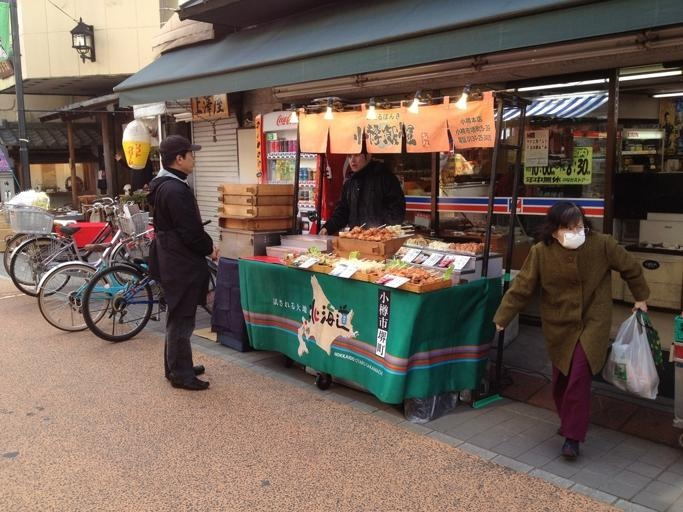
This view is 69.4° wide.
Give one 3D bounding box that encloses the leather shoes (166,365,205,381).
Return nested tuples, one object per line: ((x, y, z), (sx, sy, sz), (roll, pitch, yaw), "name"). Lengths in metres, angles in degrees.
((-1.832, 1.350, 5.849), (0.162, 0.192, 0.473), (-1, -2, 35), "leather shoes")

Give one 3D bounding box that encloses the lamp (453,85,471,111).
((1.224, -1.604, 5.007), (0.109, 0.225, 0.224), (-1, 12, 0), "lamp")

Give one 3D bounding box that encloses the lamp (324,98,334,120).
((-0.182, -1.837, 6.174), (0.113, 0.256, 0.279), (-1, 12, -2), "lamp")

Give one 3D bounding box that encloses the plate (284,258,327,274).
((-0.401, 0.089, 5.451), (0.513, 0.124, 0.300), (2, 12, 13), "plate")

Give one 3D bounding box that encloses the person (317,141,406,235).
((0.310, -0.865, 6.582), (1.173, 1.207, 0.467), (6, 14, 27), "person")

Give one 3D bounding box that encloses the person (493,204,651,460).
((2.016, 0.625, 4.246), (1.191, 2.125, 0.672), (-2, 13, -7), "person")

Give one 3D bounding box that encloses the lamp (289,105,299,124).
((-0.646, -1.897, 6.609), (0.093, 0.202, 0.344), (-2, 12, -7), "lamp")

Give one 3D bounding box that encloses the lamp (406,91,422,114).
((0.774, -1.658, 5.339), (0.125, 0.205, 0.300), (1, 12, 6), "lamp")

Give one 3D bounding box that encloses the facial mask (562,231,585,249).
((1.948, -0.135, 4.145), (0.188, 0.164, 0.098), (2, 13, 11), "facial mask")

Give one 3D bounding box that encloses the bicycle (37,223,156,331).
((-4.083, 0.416, 7.737), (2.318, 1.337, 1.109), (-11, 20, -26), "bicycle")

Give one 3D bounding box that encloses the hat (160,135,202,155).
((-1.789, -1.210, 5.474), (0.247, 0.145, 0.391), (19, 21, 42), "hat")

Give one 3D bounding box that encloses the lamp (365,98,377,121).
((0.336, -1.723, 5.772), (0.123, 0.247, 0.182), (-1, 12, 0), "lamp")

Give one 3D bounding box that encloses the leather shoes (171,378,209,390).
((-1.693, 1.405, 5.544), (0.433, 0.169, 0.153), (0, 4, 0), "leather shoes")

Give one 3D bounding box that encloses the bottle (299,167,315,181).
((-0.633, -1.458, 8.812), (0.085, 0.237, 0.394), (-12, 17, -42), "bottle")

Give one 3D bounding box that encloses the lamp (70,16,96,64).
((-8.402, -7.013, 15.903), (0.596, 1.344, 0.945), (-5, 13, -19), "lamp")

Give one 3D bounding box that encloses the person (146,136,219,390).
((-1.770, 0.088, 5.446), (0.639, 2.766, 0.709), (-7, 14, -26), "person")
